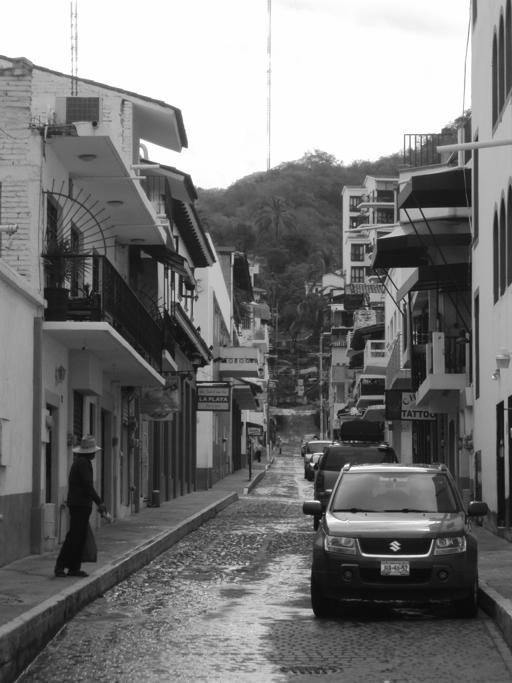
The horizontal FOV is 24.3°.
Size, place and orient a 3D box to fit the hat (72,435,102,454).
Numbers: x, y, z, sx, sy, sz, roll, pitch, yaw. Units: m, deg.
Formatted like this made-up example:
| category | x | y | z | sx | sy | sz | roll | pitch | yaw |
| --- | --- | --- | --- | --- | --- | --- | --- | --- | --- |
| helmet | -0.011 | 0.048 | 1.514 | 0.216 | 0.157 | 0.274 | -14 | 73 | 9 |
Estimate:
| category | x | y | z | sx | sy | sz | roll | pitch | yaw |
| --- | --- | --- | --- | --- | --- | --- | --- | --- | --- |
| hat | -1.959 | 1.199 | 13.594 | 0.272 | 0.190 | 0.301 | -2 | 4 | 31 |

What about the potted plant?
| category | x | y | z | sx | sy | sz | roll | pitch | yaw |
| --- | --- | --- | --- | --- | --- | --- | --- | --- | --- |
| potted plant | -2.832 | -1.108 | 17.139 | 0.620 | 1.289 | 0.626 | 6 | -9 | -21 |

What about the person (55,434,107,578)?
| category | x | y | z | sx | sy | sz | roll | pitch | yaw |
| --- | --- | --- | --- | --- | --- | --- | --- | --- | --- |
| person | -1.942 | 1.793 | 13.108 | 0.563 | 1.576 | 0.978 | 0 | -7 | -11 |
